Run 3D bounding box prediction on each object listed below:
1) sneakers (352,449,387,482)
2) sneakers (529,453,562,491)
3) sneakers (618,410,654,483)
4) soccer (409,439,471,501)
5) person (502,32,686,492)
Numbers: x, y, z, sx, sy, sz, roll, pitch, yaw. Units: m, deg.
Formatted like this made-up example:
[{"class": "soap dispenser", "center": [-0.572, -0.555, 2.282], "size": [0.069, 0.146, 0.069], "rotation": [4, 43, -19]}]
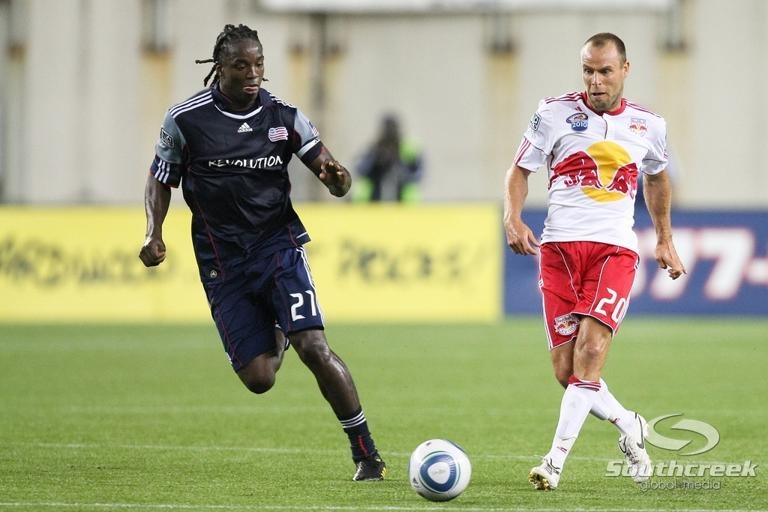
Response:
[{"class": "sneakers", "center": [-0.122, 1.698, 9.446], "size": [0.267, 0.224, 0.175], "rotation": [0, 6, -1]}, {"class": "sneakers", "center": [1.246, 1.719, 9.191], "size": [0.148, 0.340, 0.172], "rotation": [18, 61, 20]}, {"class": "sneakers", "center": [2.112, 1.585, 9.470], "size": [0.209, 0.615, 0.294], "rotation": [-21, -17, 35]}, {"class": "soccer", "center": [0.428, 1.697, 9.237], "size": [0.525, 0.502, 0.516], "rotation": [-8, -5, 2]}, {"class": "person", "center": [1.694, -0.007, 9.504], "size": [1.423, 3.632, 0.971], "rotation": [0, 6, -3]}]
